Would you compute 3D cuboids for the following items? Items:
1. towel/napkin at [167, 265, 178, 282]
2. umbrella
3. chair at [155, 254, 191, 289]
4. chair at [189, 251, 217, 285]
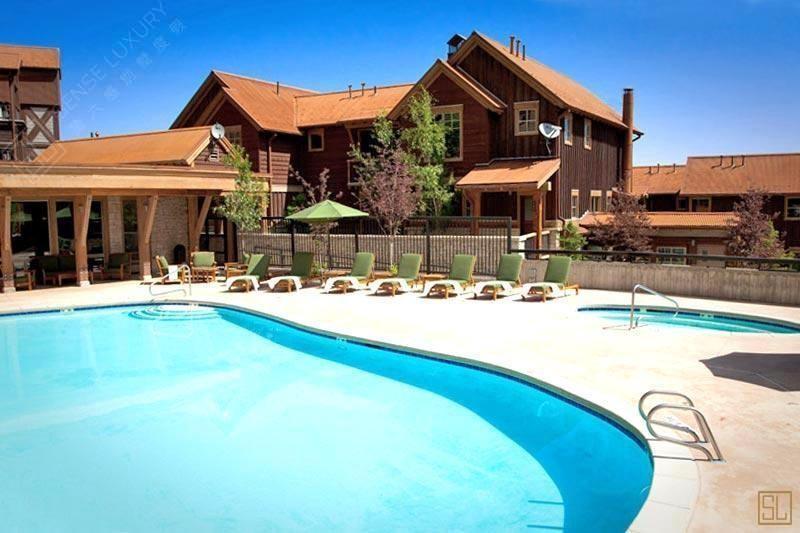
[{"bbox_3d":[-9.321,0.318,26.094,0.433,0.676,1.398,0,2,-19],"label":"towel/napkin"},{"bbox_3d":[-3.018,-1.523,25.739,2.245,2.329,2.105,16,14,33],"label":"umbrella"},{"bbox_3d":[-9.529,0.120,26.416,1.199,1.232,1.000,0,2,-3],"label":"chair"},{"bbox_3d":[-8.629,0.036,27.845,1.163,1.420,1.341,-1,-2,-14],"label":"chair"}]
